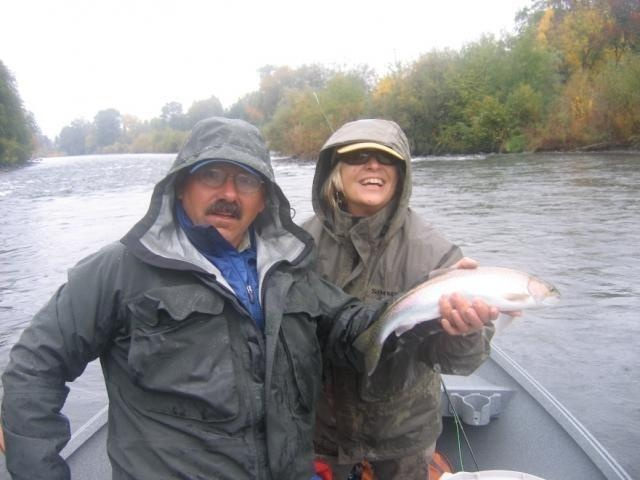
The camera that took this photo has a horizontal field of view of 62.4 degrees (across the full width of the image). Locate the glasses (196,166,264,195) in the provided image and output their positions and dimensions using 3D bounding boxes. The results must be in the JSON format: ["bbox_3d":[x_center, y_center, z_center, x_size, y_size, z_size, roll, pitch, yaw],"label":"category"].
[{"bbox_3d":[-0.489,-0.343,2.959,0.201,0.063,0.210,11,-26,-19],"label":"glasses"}]
